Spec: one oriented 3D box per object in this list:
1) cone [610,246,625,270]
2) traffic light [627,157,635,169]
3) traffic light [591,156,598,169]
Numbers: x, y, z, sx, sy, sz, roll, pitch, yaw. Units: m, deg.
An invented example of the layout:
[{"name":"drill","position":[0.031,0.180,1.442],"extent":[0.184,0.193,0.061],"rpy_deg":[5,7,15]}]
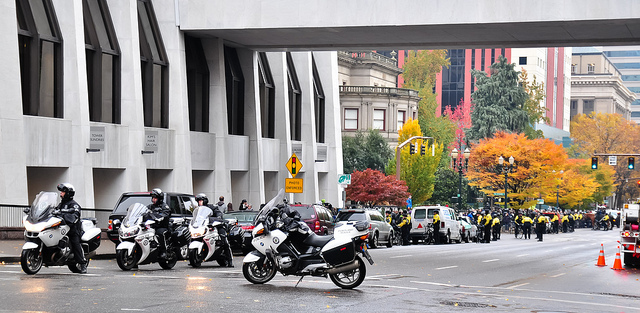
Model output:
[{"name":"cone","position":[18.410,6.414,52.530],"extent":[0.707,1.048,1.164],"rpy_deg":[-1,-5,15]},{"name":"traffic light","position":[28.325,0.537,77.439],"extent":[0.377,1.024,1.043],"rpy_deg":[-2,-5,28]},{"name":"traffic light","position":[25.389,0.561,78.647],"extent":[0.338,1.067,0.709],"rpy_deg":[0,-4,5]}]
